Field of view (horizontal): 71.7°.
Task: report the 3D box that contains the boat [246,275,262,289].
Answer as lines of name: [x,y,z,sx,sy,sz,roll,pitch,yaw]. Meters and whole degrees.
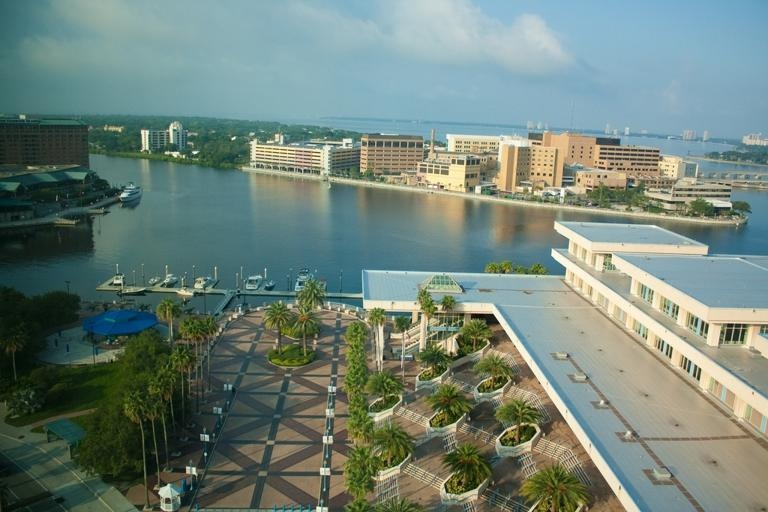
boat: [-26.572,5.752,108.836,1.734,1.269,3.849,3,24,2]

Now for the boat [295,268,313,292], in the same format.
boat: [-17.092,5.217,111.712,3.131,4.191,11.536,0,7,-1]

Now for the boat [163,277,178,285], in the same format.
boat: [-43.891,5.118,109.746,2.419,1.037,3.240,0,15,-4]
